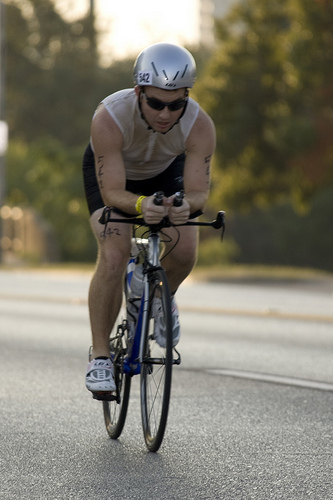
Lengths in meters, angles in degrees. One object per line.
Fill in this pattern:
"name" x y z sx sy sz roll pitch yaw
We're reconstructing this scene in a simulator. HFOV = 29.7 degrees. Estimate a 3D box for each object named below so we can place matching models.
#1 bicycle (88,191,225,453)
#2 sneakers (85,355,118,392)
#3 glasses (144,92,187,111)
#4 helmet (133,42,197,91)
"bicycle" -0.082 0.357 2.939 0.549 1.302 0.888 2 13 -7
"sneakers" -0.301 0.573 2.871 0.135 0.138 0.183 2 12 -5
"glasses" -0.001 -0.643 2.769 0.193 0.068 0.083 0 12 -14
"helmet" -0.010 -0.776 2.762 0.215 0.179 0.252 0 2 -13
